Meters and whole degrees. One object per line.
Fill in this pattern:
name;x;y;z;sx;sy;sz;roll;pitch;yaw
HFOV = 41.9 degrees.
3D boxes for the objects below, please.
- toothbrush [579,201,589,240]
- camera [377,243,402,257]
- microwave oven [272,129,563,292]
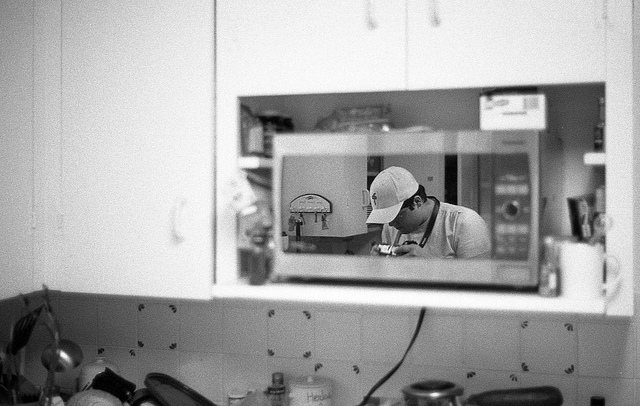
toothbrush;0.847;0.055;2.672;0.020;0.119;0.039;1;-1;-12
camera;0.207;0.150;2.616;0.050;0.040;0.016;1;33;4
microwave oven;0.314;0.015;2.826;0.861;0.499;0.507;1;4;17
